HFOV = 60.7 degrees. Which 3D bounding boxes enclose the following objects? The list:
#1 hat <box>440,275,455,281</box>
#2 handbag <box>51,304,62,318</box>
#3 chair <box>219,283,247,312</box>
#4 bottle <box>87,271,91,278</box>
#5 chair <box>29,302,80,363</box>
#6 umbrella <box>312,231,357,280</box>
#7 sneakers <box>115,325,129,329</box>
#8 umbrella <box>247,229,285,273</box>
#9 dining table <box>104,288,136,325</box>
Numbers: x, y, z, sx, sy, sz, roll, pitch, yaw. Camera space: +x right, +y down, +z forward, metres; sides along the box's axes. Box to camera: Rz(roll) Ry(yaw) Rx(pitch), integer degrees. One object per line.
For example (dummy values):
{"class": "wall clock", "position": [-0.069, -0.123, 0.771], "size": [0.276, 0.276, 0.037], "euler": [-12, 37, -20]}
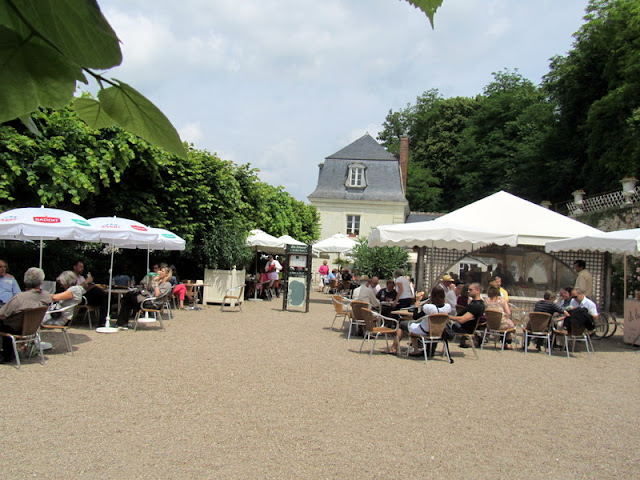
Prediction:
{"class": "hat", "position": [2.987, 0.889, 12.592], "size": [0.258, 0.103, 0.225], "euler": [-4, 4, -45]}
{"class": "handbag", "position": [-4.509, 1.180, 9.245], "size": [0.160, 0.239, 0.486], "euler": [4, -16, -26]}
{"class": "chair", "position": [-2.854, 1.899, 17.959], "size": [0.652, 1.012, 0.763], "euler": [-4, -11, 32]}
{"class": "bottle", "position": [-5.710, 0.858, 13.448], "size": [0.082, 0.093, 0.091], "euler": [14, 6, 12]}
{"class": "chair", "position": [-4.482, 1.495, 9.285], "size": [0.827, 1.181, 0.849], "euler": [6, -6, -21]}
{"class": "umbrella", "position": [0.876, 0.936, 30.785], "size": [3.176, 1.657, 3.147], "euler": [-1, -2, 2]}
{"class": "sneakers", "position": [-4.388, 1.936, 12.117], "size": [0.162, 0.081, 0.238], "euler": [1, -1, -22]}
{"class": "umbrella", "position": [-2.329, 0.571, 23.301], "size": [2.126, 1.184, 2.857], "euler": [2, -6, -6]}
{"class": "dining table", "position": [-5.063, 1.672, 14.040], "size": [1.050, 1.059, 1.066], "euler": [5, -9, -28]}
